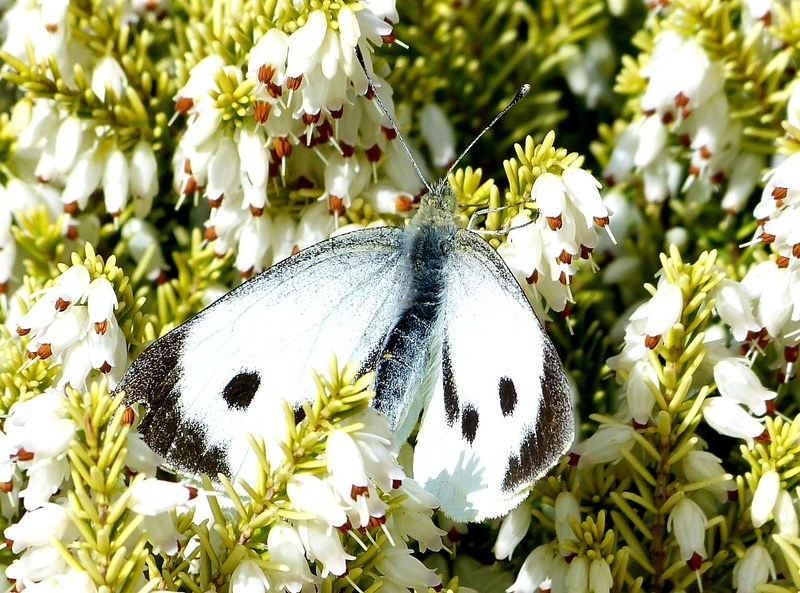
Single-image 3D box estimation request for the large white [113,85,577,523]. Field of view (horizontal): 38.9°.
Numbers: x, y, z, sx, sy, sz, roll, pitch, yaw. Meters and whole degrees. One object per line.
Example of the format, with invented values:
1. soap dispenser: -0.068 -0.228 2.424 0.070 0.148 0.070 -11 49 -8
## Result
1. large white: -0.091 0.215 2.093 0.749 0.253 0.639 -30 69 -10
